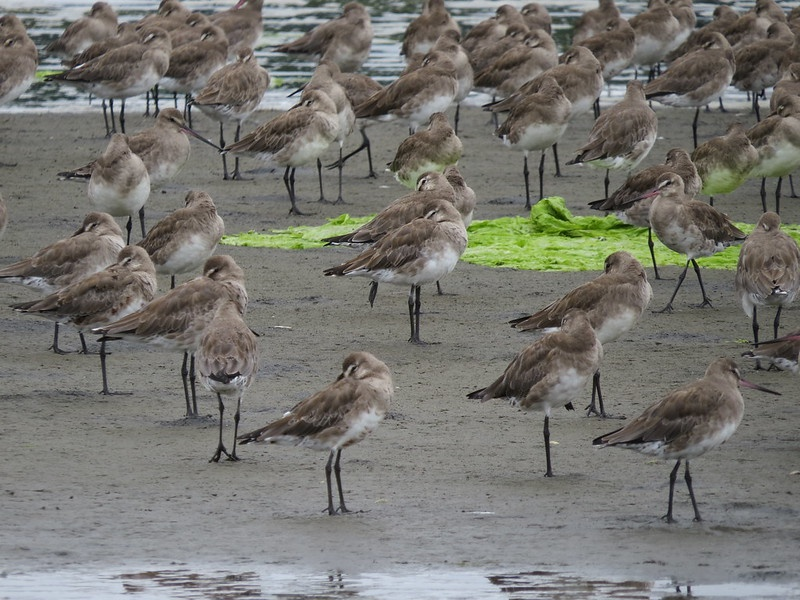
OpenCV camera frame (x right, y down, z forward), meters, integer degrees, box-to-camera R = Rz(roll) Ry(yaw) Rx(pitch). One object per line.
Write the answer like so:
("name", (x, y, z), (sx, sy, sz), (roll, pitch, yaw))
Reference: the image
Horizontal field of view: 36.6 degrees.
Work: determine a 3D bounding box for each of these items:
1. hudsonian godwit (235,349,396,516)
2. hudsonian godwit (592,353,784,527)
("hudsonian godwit", (-0.632, 1.175, 10.848), (1.060, 1.324, 0.707), (-6, 9, -39))
("hudsonian godwit", (2.566, 1.052, 10.817), (1.442, 1.378, 1.914), (12, 15, 12))
